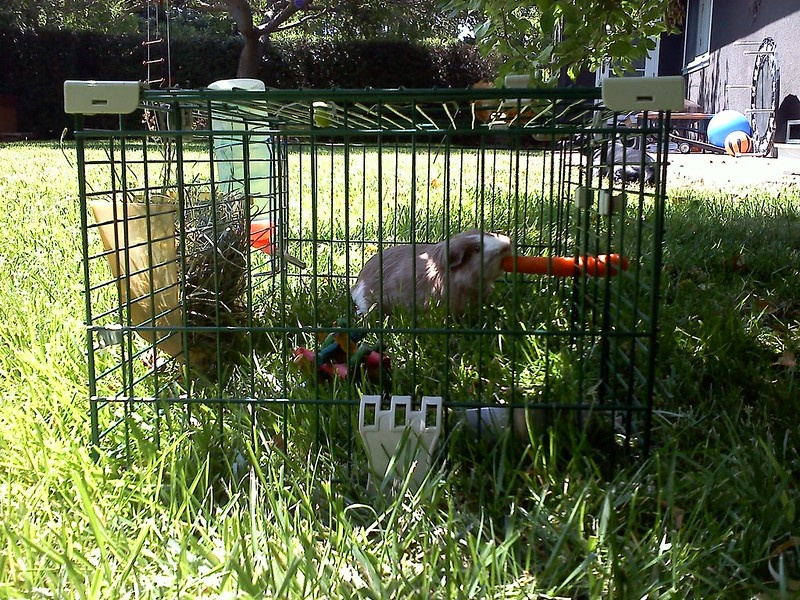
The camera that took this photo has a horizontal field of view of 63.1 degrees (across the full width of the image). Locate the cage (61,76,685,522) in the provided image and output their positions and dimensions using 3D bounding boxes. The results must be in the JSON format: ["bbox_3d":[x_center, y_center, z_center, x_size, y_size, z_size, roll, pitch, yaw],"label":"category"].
[{"bbox_3d":[-0.102,-0.010,2.358,1.688,1.241,1.822,0,7,-5],"label":"cage"}]

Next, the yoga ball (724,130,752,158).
[{"bbox_3d":[6.421,-3.016,12.422,0.429,0.442,1.093,8,15,28],"label":"yoga ball"}]
